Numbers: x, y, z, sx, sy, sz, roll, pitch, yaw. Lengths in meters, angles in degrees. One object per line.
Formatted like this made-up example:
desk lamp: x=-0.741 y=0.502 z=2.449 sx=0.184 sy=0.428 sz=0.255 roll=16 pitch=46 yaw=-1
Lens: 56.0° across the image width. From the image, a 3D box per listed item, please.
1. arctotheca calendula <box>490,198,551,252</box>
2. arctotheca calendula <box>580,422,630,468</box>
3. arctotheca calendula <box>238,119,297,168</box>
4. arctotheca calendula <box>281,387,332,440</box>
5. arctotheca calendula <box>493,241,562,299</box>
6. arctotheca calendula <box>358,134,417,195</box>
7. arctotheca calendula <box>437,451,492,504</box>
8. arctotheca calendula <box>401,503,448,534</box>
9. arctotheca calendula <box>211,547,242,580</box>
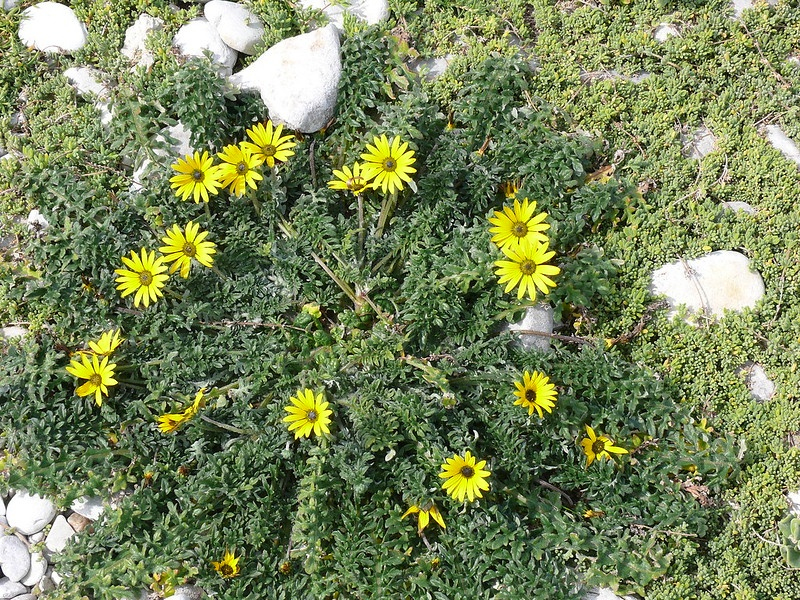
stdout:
arctotheca calendula: x=0.820 y=-0.528 z=5.227 sx=0.359 sy=0.103 sz=0.394 roll=-13 pitch=80 yaw=-1
arctotheca calendula: x=1.393 y=0.963 z=5.139 sx=0.331 sy=0.499 sz=0.102 roll=14 pitch=64 yaw=14
arctotheca calendula: x=-0.947 y=-1.174 z=5.570 sx=0.408 sy=0.428 sz=0.373 roll=-3 pitch=113 yaw=-2
arctotheca calendula: x=-0.634 y=0.778 z=5.130 sx=0.350 sy=0.502 sz=0.322 roll=8 pitch=79 yaw=3
arctotheca calendula: x=0.857 y=-0.198 z=5.213 sx=0.404 sy=0.268 sz=0.402 roll=-14 pitch=80 yaw=-1
arctotheca calendula: x=-0.082 y=-0.966 z=5.309 sx=0.413 sy=0.100 sz=0.418 roll=35 pitch=100 yaw=5
arctotheca calendula: x=0.421 y=1.163 z=4.968 sx=0.326 sy=0.266 sz=0.298 roll=-14 pitch=79 yaw=-1
arctotheca calendula: x=0.159 y=1.484 z=5.126 sx=0.286 sy=0.276 sz=0.184 roll=-1 pitch=79 yaw=1
arctotheca calendula: x=-1.156 y=1.783 z=5.043 sx=0.177 sy=0.140 sz=0.177 roll=-36 pitch=81 yaw=-5
